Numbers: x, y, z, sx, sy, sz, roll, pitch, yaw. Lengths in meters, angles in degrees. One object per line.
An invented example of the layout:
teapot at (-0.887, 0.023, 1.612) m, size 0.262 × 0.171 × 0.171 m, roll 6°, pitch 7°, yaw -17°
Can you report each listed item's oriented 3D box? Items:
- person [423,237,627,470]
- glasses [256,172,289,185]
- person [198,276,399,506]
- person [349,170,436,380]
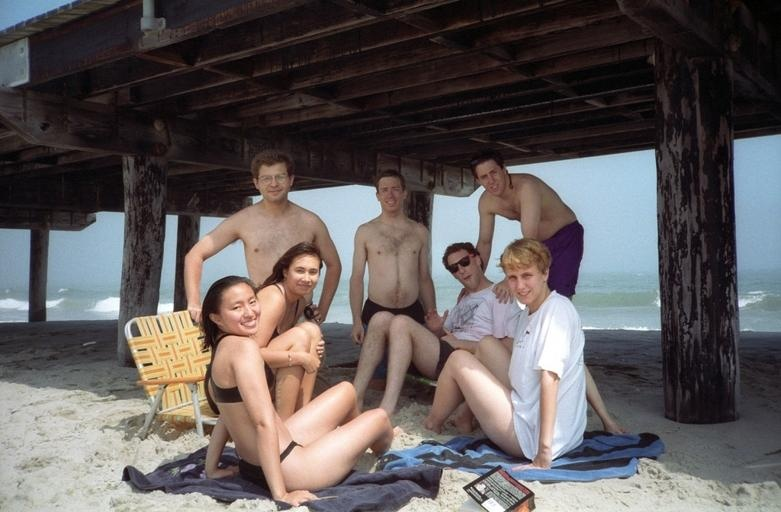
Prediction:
person at (1.041, 0.795, 5.523) m, size 1.166 × 1.881 × 0.494 m, roll -1°, pitch 2°, yaw 30°
glasses at (-1.150, -0.764, 6.304) m, size 0.355 × 0.126 × 0.133 m, roll -3°, pitch 1°, yaw -9°
person at (-0.815, 1.002, 5.137) m, size 1.345 × 1.153 × 0.722 m, roll -3°, pitch 2°, yaw -19°
person at (0.081, 0.639, 7.312) m, size 0.964 × 3.167 × 0.784 m, roll -1°, pitch 15°, yaw -2°
